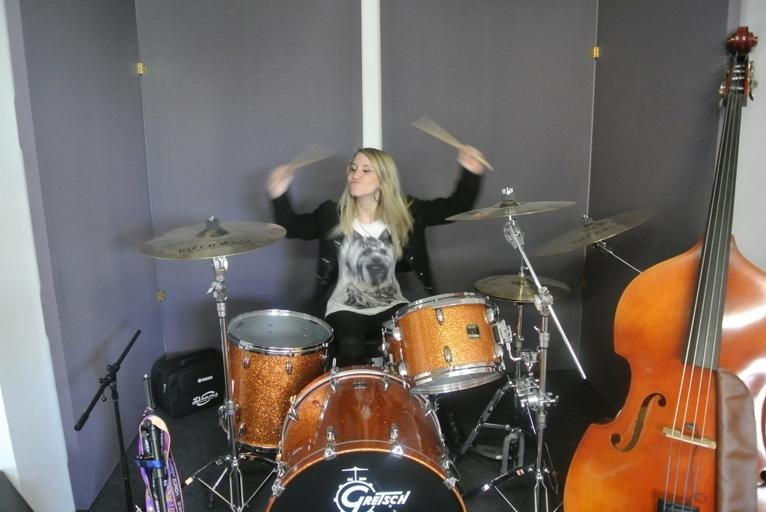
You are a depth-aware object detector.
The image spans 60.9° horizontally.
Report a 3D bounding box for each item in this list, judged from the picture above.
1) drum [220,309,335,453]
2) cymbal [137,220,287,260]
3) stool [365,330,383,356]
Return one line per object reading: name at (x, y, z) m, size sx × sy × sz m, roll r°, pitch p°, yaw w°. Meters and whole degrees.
drum at (-0.592, 0.656, 3.830) m, size 0.701 × 0.700 × 0.695 m, roll -1°, pitch 16°, yaw -14°
cymbal at (-0.897, -0.092, 3.510) m, size 0.737 × 0.235 × 0.482 m, roll -3°, pitch 6°, yaw -17°
stool at (-0.049, 0.519, 3.908) m, size 0.091 × 0.152 × 0.112 m, roll -1°, pitch 7°, yaw -2°
